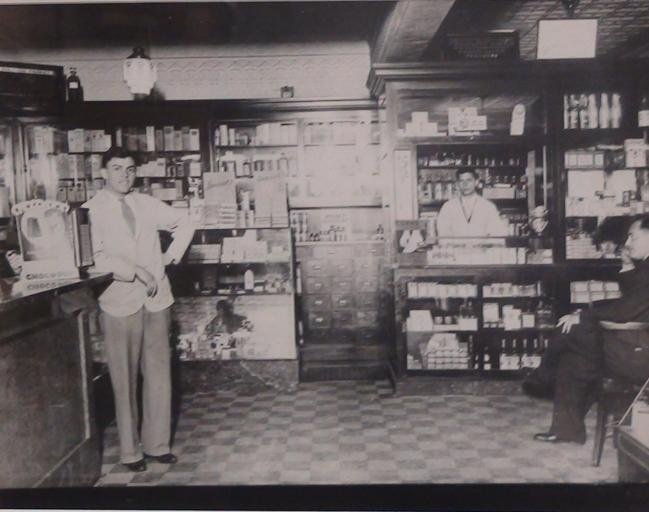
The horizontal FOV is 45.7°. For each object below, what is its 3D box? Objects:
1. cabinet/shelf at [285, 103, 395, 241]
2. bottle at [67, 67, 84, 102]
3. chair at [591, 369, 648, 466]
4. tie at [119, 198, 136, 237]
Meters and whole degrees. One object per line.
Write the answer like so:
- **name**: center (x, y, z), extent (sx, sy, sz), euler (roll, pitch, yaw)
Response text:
- **cabinet/shelf**: center (0.133, -0.878, 7.619), extent (1.386, 1.766, 0.605), euler (-1, 2, 0)
- **bottle**: center (-2.421, -1.660, 7.487), extent (0.160, 0.360, 0.272), euler (-4, 8, -17)
- **chair**: center (2.319, 1.303, 6.095), extent (0.434, 0.679, 0.271), euler (0, 8, 11)
- **tie**: center (-1.576, -0.318, 6.213), extent (0.085, 0.344, 0.016), euler (-22, 0, -26)
